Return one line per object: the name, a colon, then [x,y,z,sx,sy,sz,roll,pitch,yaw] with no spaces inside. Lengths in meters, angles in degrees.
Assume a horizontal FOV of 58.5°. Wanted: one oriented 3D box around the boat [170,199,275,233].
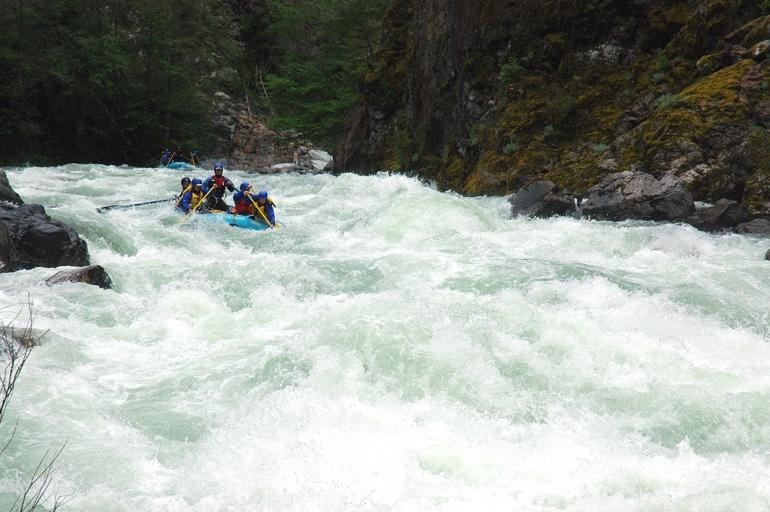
boat: [-4.183,-0.956,19.207,3.319,0.733,0.719,11,52,3]
